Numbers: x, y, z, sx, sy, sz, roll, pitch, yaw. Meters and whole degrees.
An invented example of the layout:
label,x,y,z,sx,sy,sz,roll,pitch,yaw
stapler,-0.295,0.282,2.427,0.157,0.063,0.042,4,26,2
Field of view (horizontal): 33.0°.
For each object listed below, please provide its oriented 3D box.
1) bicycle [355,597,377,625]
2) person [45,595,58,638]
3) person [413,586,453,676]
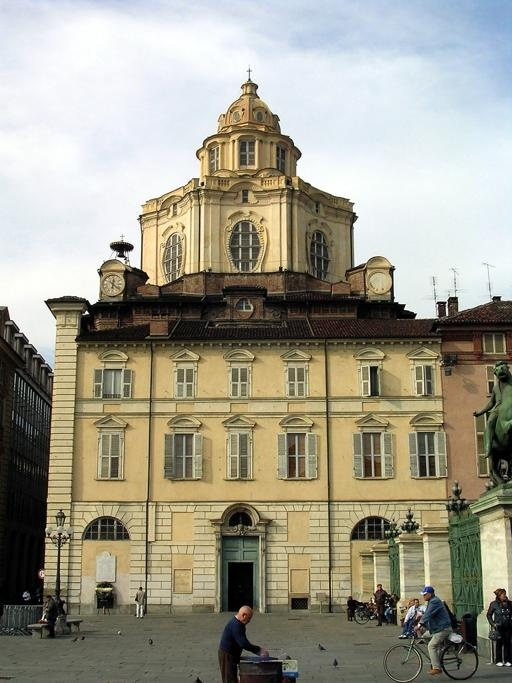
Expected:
label,x,y,z,sx,sy,sz,roll,pitch,yaw
bicycle,4.612,11.631,36.745,1.275,0.713,0.586,1,-4,-24
person,-6.947,9.428,29.245,0.346,1.147,1.127,2,-15,-14
person,3.229,5.247,15.481,0.553,1.546,1.030,-5,-15,12
